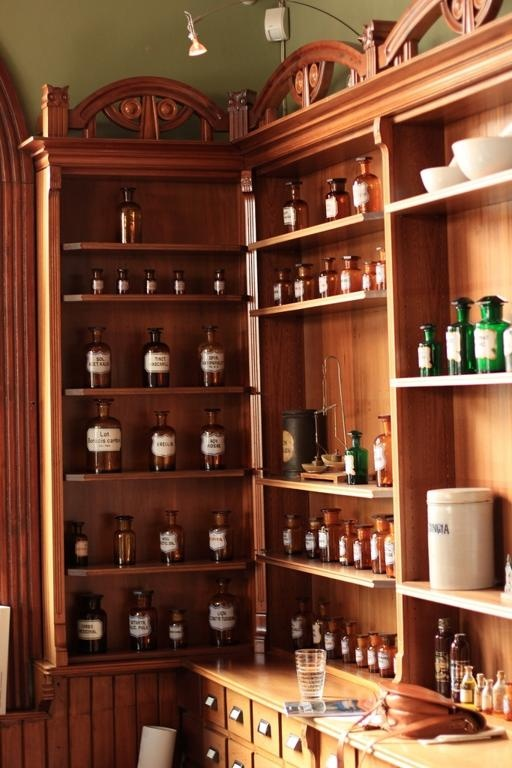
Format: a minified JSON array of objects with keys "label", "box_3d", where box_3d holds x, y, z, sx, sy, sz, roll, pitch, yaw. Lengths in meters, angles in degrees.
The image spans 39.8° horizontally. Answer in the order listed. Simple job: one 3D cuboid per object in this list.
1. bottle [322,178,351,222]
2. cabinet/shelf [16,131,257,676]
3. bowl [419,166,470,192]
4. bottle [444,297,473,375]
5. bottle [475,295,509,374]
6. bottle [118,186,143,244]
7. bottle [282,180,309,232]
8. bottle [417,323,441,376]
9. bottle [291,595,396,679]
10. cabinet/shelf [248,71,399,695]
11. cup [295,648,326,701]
[{"label":"bottle","box_3d":[0.276,-0.621,2.398,0.080,0.186,0.248,-4,-3,9]},{"label":"cabinet/shelf","box_3d":[-0.426,-0.025,2.883,0.891,1.880,0.296,1,25,-5]},{"label":"bowl","box_3d":[0.453,-0.486,1.730,0.083,0.050,0.082,-6,2,0]},{"label":"bottle","box_3d":[0.483,-0.110,1.684,0.062,0.179,0.139,-4,-3,15]},{"label":"bottle","box_3d":[0.518,-0.109,1.568,0.073,0.172,0.153,-4,-3,17]},{"label":"bottle","box_3d":[-0.481,-0.636,2.694,0.081,0.224,0.072,-3,-3,-11]},{"label":"bottle","box_3d":[0.136,-0.640,2.609,0.079,0.206,0.185,-3,-3,-6]},{"label":"bottle","box_3d":[0.426,-0.082,1.794,0.075,0.138,0.075,0,-1,0]},{"label":"bottle","box_3d":[0.280,0.829,2.304,0.128,0.156,0.426,2,-1,-25]},{"label":"cabinet/shelf","box_3d":[0.284,0.275,2.524,0.222,1.625,0.776,-3,2,-35]},{"label":"cup","box_3d":[0.145,0.776,1.885,0.083,0.128,0.082,0,-20,0]}]
